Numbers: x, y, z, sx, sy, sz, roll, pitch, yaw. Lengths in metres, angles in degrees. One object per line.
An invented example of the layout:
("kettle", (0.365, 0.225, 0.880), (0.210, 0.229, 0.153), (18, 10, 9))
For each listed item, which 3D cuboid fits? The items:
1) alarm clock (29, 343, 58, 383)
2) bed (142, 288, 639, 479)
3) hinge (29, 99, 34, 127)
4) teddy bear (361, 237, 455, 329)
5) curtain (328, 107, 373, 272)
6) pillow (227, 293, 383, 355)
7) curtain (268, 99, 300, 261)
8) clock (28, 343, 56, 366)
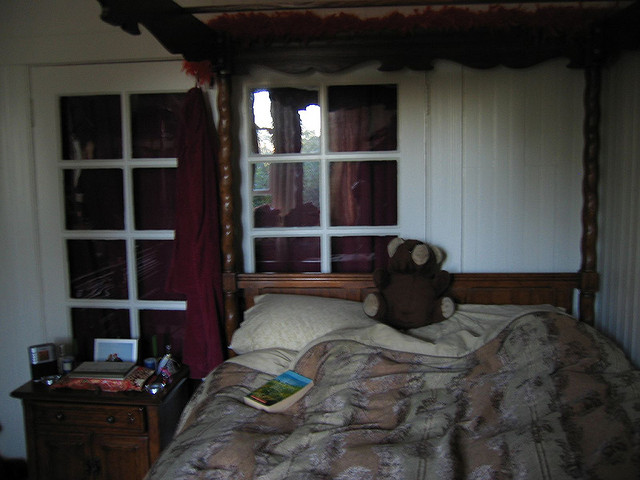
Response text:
("alarm clock", (-1.557, 0.690, 3.117), (0.137, 0.190, 0.097), (-6, 6, -24))
("bed", (0.371, 0.618, 2.494), (1.989, 0.539, 0.928), (-2, 5, 9))
("hinge", (-1.703, -0.751, 3.261), (0.023, 0.157, 0.008), (-6, 6, -24))
("teddy bear", (0.477, 0.216, 2.989), (0.503, 0.461, 0.297), (5, -6, 1))
("curtain", (0.181, -0.280, 3.105), (0.332, 0.854, 0.070), (1, 11, -3))
("pillow", (-0.092, 0.416, 3.024), (0.798, 0.162, 0.463), (-3, 27, 2))
("curtain", (-0.178, -0.336, 3.233), (0.230, 0.981, 0.061), (4, 8, 38))
("clock", (-1.573, 0.650, 3.129), (0.133, 0.111, 0.055), (-6, 6, -27))
